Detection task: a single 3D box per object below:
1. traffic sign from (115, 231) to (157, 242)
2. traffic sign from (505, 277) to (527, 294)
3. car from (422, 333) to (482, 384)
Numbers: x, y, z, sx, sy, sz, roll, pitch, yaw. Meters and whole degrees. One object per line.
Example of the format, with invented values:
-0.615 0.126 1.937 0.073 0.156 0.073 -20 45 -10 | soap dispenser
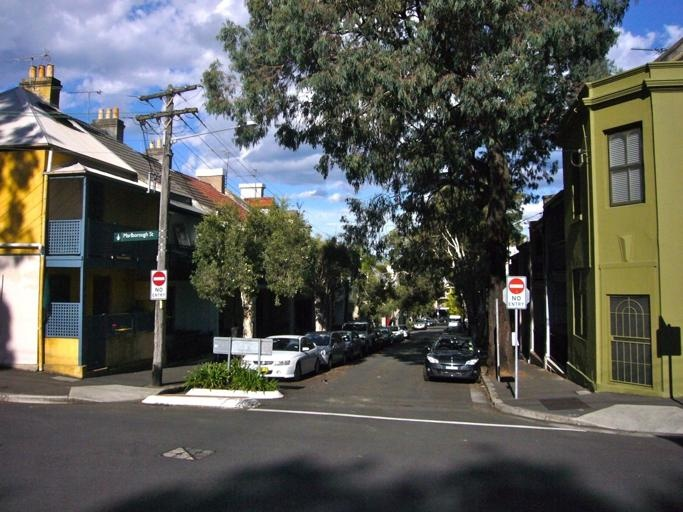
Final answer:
-7.399 -0.681 24.249 2.548 0.346 0.572 1 1 41 | traffic sign
5.494 0.953 21.332 0.444 0.566 0.090 0 -5 2 | traffic sign
4.151 3.958 25.312 1.983 1.424 2.512 1 1 14 | car
